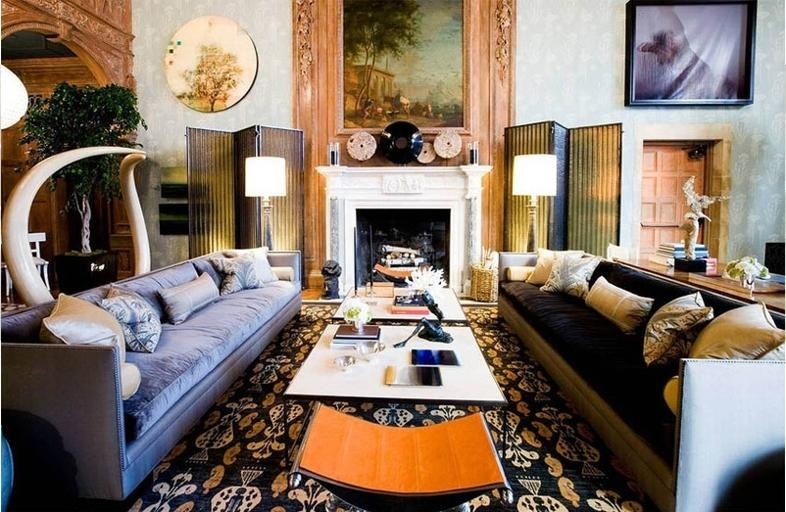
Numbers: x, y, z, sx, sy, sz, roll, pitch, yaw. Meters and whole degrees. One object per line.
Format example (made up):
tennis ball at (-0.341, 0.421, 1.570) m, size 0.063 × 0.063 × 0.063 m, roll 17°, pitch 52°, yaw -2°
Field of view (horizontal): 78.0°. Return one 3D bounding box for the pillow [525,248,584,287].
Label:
pillow at (1.827, 0.144, 5.632) m, size 0.149 × 0.466 × 0.480 m, roll 26°, pitch -8°, yaw -23°

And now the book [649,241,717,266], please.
book at (3.058, -0.046, 5.119) m, size 0.396 × 0.186 × 0.400 m, roll -2°, pitch 6°, yaw -9°

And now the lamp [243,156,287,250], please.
lamp at (-1.642, -0.598, 6.370) m, size 0.367 × 0.927 × 0.363 m, roll 0°, pitch 6°, yaw 9°

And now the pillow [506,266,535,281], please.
pillow at (1.513, 0.200, 5.857) m, size 0.373 × 0.154 × 0.173 m, roll -5°, pitch 40°, yaw 2°

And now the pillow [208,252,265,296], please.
pillow at (-1.729, 0.186, 5.413) m, size 0.148 × 0.456 × 0.476 m, roll -22°, pitch -8°, yaw 43°

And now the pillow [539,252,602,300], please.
pillow at (1.956, 0.181, 5.291) m, size 0.153 × 0.497 × 0.494 m, roll 30°, pitch -7°, yaw -34°

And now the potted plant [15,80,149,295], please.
potted plant at (-4.028, -0.862, 6.414) m, size 1.494 × 2.530 × 1.150 m, roll 0°, pitch -7°, yaw 8°

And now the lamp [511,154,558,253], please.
lamp at (1.809, -0.687, 6.272) m, size 0.518 × 1.233 × 0.590 m, roll 2°, pitch 11°, yaw 14°
